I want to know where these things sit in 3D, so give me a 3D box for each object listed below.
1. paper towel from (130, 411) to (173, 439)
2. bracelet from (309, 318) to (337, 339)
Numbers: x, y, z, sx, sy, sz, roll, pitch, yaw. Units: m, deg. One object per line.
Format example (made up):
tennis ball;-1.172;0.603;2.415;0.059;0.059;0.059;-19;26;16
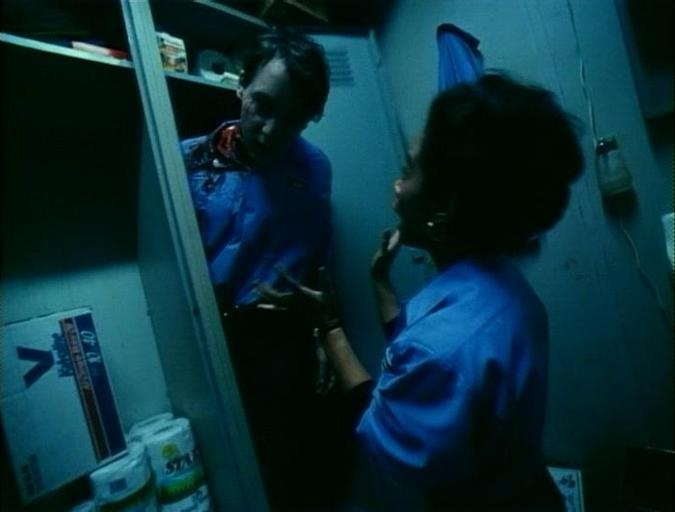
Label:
paper towel;-0.607;0.526;1.957;0.081;0.020;0.083;-19;3;3
bracelet;-0.039;0.228;1.926;0.067;0.017;0.049;-28;-14;32
